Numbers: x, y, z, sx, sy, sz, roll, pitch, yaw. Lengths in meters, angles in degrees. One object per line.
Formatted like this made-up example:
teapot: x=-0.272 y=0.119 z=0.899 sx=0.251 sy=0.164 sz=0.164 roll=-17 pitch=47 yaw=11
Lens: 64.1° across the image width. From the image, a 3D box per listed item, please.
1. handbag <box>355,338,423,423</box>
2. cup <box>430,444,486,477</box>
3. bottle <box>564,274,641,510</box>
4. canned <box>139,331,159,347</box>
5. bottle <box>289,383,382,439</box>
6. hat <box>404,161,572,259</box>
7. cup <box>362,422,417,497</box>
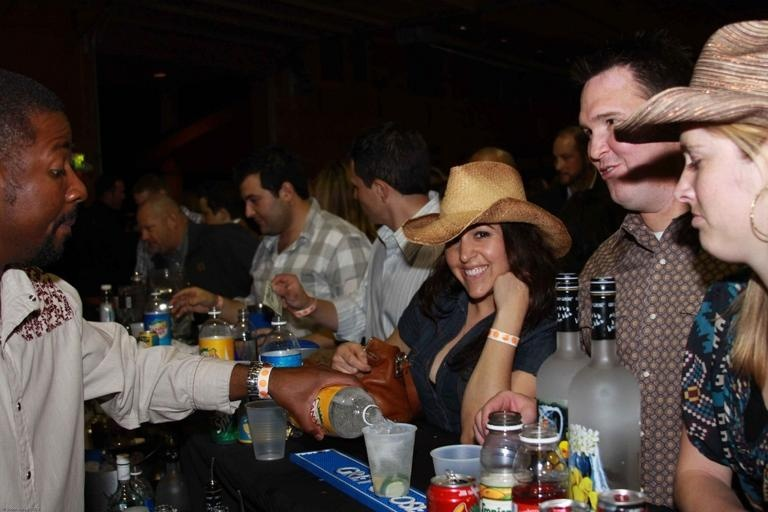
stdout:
handbag: x=0.016 y=0.530 z=2.566 sx=0.186 sy=0.338 sz=0.340 roll=-29 pitch=-14 yaw=17
cup: x=0.221 y=0.620 z=1.876 sx=0.121 sy=0.075 sz=0.116 roll=-1 pitch=-1 yaw=0
bottle: x=0.588 y=0.344 z=1.643 sx=0.184 sy=0.554 sz=0.152 roll=1 pitch=-7 yaw=10
canned: x=-1.215 y=0.429 z=3.179 sx=0.091 sy=0.088 sz=0.083 roll=1 pitch=7 yaw=-11
bottle: x=-0.168 y=0.515 z=2.047 sx=0.150 sy=0.136 sz=0.271 roll=-26 pitch=18 yaw=-39
hat: x=0.471 y=-0.215 z=2.772 sx=0.621 sy=0.271 sz=0.473 roll=3 pitch=-1 yaw=-6
cup: x=0.043 y=0.643 z=1.944 sx=0.136 sy=0.230 sz=0.228 roll=-5 pitch=-10 yaw=44
